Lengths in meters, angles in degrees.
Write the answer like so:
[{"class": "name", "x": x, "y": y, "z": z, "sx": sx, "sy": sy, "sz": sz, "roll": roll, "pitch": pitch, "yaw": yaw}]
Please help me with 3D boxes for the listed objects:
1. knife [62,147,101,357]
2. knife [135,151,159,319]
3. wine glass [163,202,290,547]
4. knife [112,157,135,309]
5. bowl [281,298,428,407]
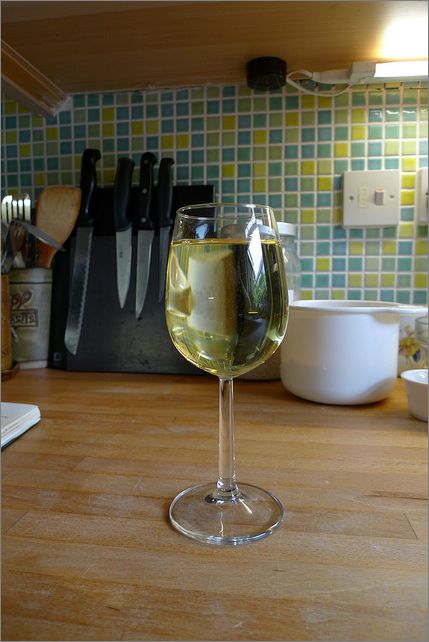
[{"class": "knife", "x": -0.236, "y": -0.142, "z": 1.033, "sx": 0.050, "sy": 0.385, "sz": 0.024, "roll": -2, "pitch": -13, "yaw": 36}, {"class": "knife", "x": -0.130, "y": -0.164, "z": 1.006, "sx": 0.043, "sy": 0.309, "sz": 0.098, "roll": -1, "pitch": 8, "yaw": -6}, {"class": "wine glass", "x": 0.004, "y": 0.027, "z": 0.451, "sx": 0.101, "sy": 0.259, "sz": 0.150, "roll": -3, "pitch": 8, "yaw": -15}, {"class": "knife", "x": -0.169, "y": -0.168, "z": 1.007, "sx": 0.038, "sy": 0.282, "sz": 0.079, "roll": -2, "pitch": 8, "yaw": -7}, {"class": "bowl", "x": 0.185, "y": 0.042, "z": 0.739, "sx": 0.178, "sy": 0.114, "sz": 0.134, "roll": 1, "pitch": -2, "yaw": 0}]
